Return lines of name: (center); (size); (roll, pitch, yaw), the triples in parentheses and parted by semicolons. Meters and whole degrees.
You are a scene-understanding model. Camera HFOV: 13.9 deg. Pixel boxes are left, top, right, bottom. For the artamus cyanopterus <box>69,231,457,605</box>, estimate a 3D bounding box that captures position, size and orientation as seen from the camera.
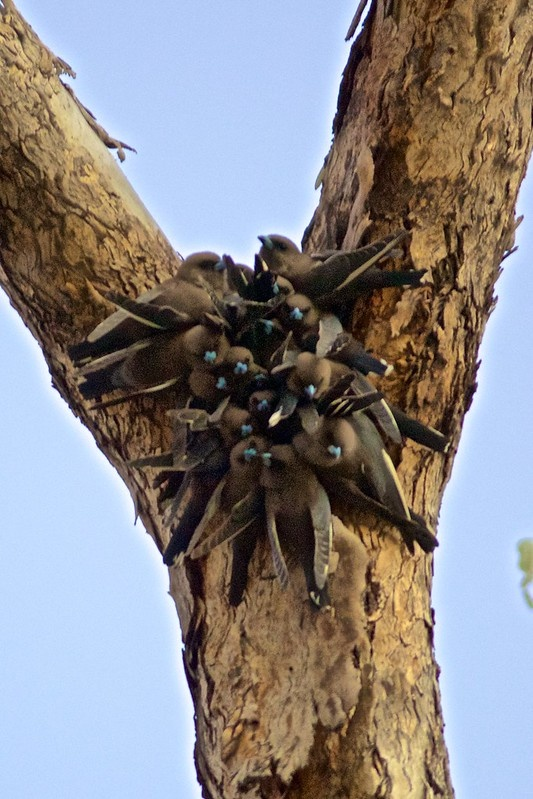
artamus cyanopterus: (-0.023, 0.006, 6.018); (0.845, 0.458, 1.172); (-1, -89, 7)
